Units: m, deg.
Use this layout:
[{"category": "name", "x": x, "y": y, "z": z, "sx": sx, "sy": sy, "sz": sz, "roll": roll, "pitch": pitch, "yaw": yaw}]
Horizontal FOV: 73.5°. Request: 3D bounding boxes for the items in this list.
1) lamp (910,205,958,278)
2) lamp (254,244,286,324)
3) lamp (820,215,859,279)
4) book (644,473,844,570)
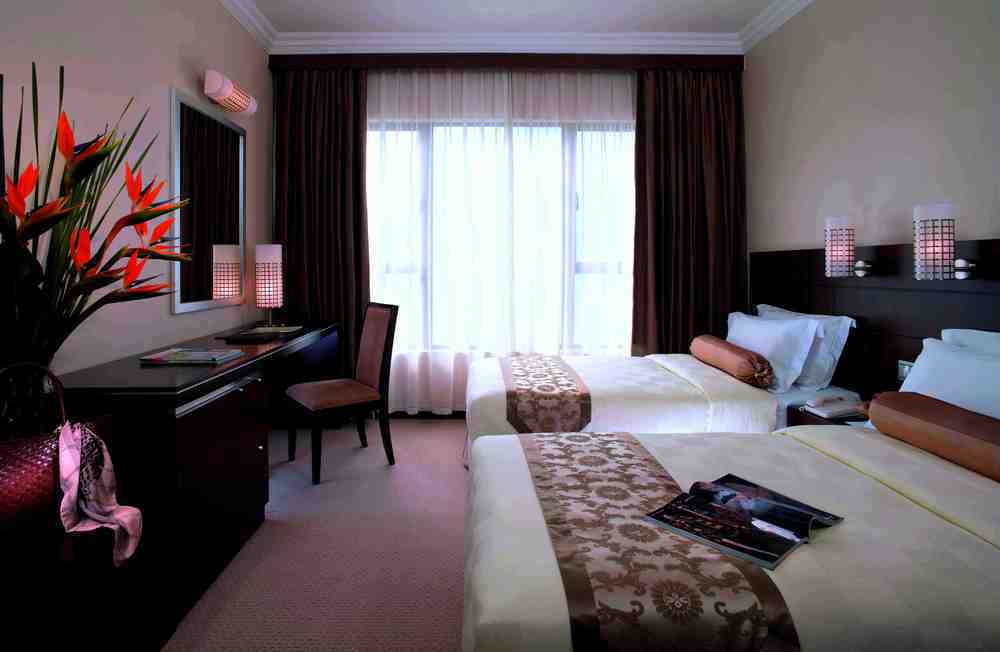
[{"category": "lamp", "x": 2.377, "y": -0.461, "z": 3.676, "sx": 0.205, "sy": 0.413, "sz": 0.178, "roll": 5, "pitch": 10, "yaw": 33}, {"category": "lamp", "x": -1.731, "y": -0.377, "z": 4.998, "sx": 0.186, "sy": 0.467, "sz": 0.121, "roll": -4, "pitch": 9, "yaw": -21}, {"category": "lamp", "x": 2.191, "y": -0.511, "z": 4.315, "sx": 0.188, "sy": 0.383, "sz": 0.114, "roll": 6, "pitch": 10, "yaw": 38}, {"category": "book", "x": 0.947, "y": 0.764, "z": 2.669, "sx": 0.401, "sy": 0.060, "sz": 0.342, "roll": -17, "pitch": 20, "yaw": -41}]
